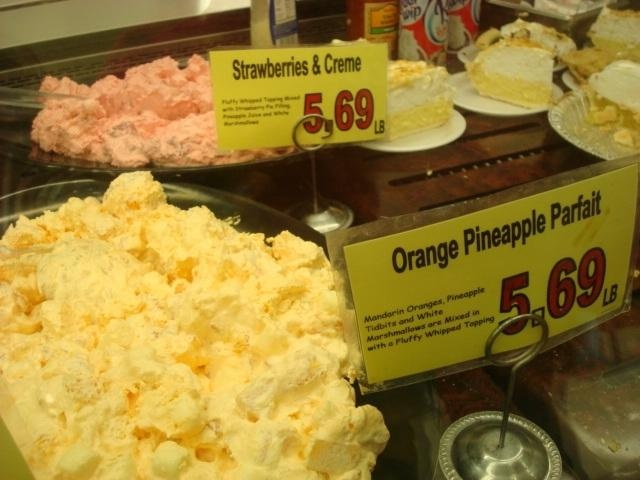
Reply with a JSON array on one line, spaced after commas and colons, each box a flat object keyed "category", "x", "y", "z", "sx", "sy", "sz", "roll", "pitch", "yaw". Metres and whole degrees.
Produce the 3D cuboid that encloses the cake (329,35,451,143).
[{"category": "cake", "x": 0.189, "y": -0.338, "z": 1.319, "sx": 0.228, "sy": 0.148, "sz": 0.235, "roll": -17, "pitch": 41, "yaw": -13}]
